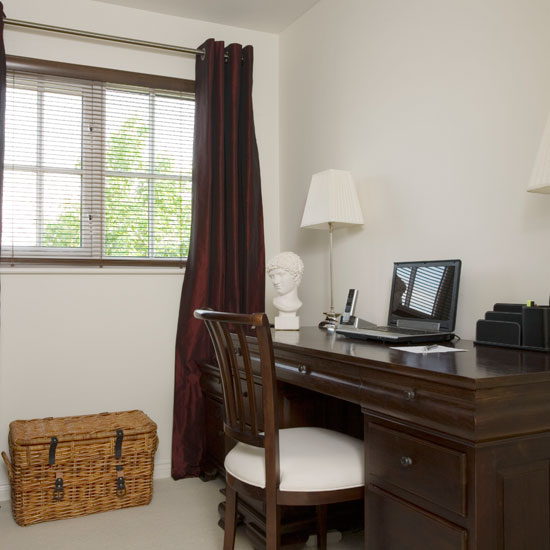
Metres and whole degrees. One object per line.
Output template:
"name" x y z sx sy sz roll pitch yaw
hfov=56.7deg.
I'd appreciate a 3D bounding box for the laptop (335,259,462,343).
"laptop" 0.460 0.089 1.808 0.280 0.311 0.346 2 -2 -25
